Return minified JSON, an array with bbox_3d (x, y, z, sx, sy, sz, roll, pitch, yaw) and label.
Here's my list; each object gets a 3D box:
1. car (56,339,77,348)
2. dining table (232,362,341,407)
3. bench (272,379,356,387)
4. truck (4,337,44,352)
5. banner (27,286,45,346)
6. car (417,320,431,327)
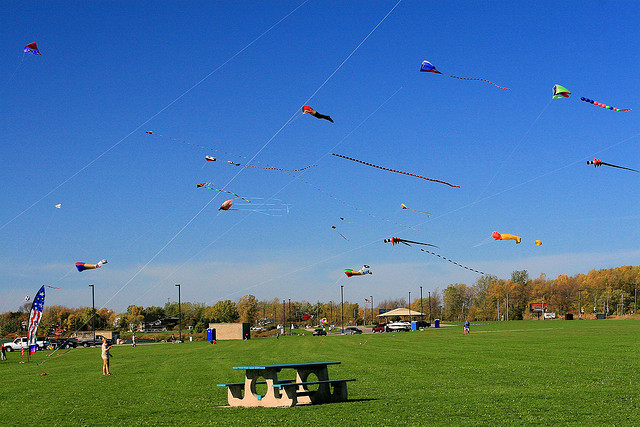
[{"bbox_3d":[-32.930,16.844,88.343,1.988,1.133,5.876,4,-15,-13],"label":"car"},{"bbox_3d":[-1.780,8.666,34.439,4.380,2.127,2.237,3,-15,-9],"label":"dining table"},{"bbox_3d":[-0.445,8.551,34.357,3.951,0.405,1.849,3,-15,-9],"label":"bench"},{"bbox_3d":[-36.871,16.298,84.737,4.119,2.006,7.803,7,-16,-23],"label":"truck"},{"bbox_3d":[-19.637,7.174,46.883,0.818,3.520,3.751,7,-16,-22],"label":"banner"},{"bbox_3d":[19.558,20.516,126.330,2.148,0.940,3.349,-3,-12,25],"label":"car"}]
